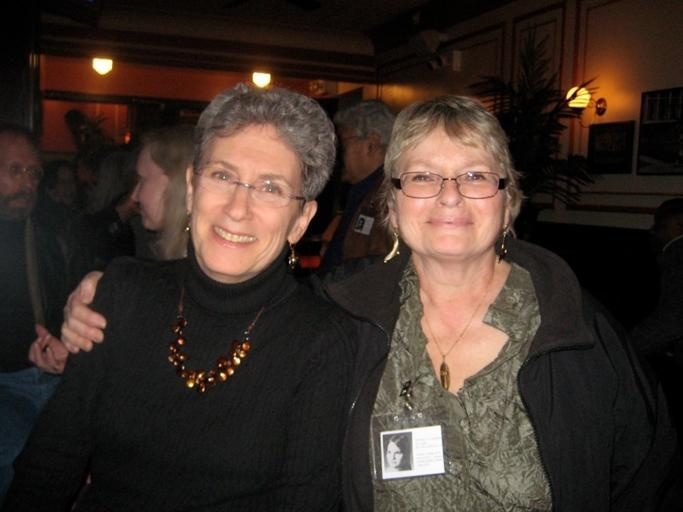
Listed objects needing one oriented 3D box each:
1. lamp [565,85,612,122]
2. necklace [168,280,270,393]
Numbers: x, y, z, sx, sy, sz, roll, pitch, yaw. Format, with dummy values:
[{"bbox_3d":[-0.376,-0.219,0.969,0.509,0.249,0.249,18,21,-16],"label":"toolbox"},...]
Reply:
[{"bbox_3d":[2.802,-1.746,6.851,0.538,0.305,0.259,7,12,-17],"label":"lamp"},{"bbox_3d":[-0.510,0.371,2.438,0.269,0.302,0.102,14,-20,1],"label":"necklace"}]
